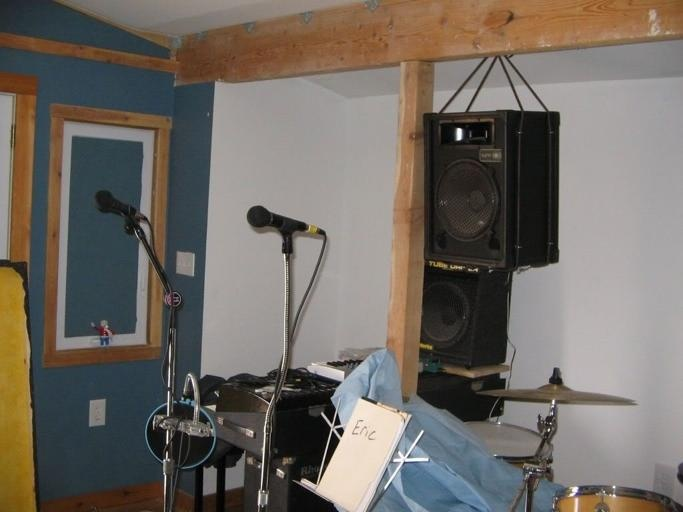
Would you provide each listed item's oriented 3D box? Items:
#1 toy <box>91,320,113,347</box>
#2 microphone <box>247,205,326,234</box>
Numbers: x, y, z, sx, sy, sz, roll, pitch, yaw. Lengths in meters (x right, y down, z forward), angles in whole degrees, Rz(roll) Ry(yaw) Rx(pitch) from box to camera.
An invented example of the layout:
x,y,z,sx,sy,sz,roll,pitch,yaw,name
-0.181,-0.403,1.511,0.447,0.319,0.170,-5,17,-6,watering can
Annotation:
x,y,z,sx,sy,sz,roll,pitch,yaw,name
-1.492,0.482,4.241,0.156,0.196,0.041,0,-1,-32,toy
-0.220,-0.135,2.651,0.155,0.099,0.344,2,1,32,microphone
